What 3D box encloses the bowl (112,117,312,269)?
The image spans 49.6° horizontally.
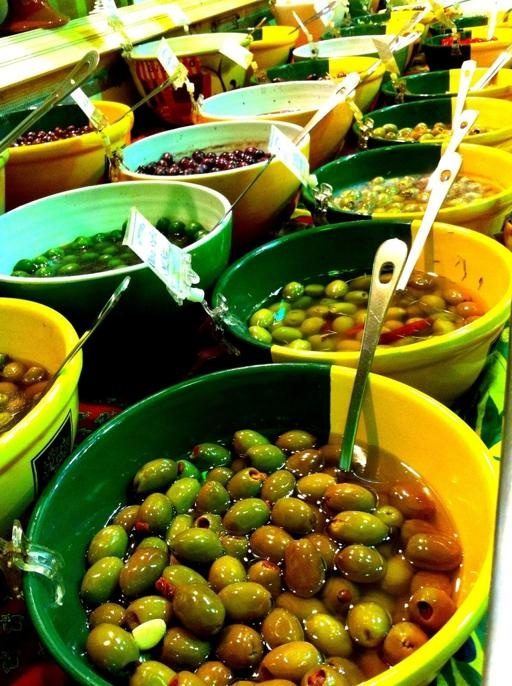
[{"bbox_3d":[-0.082,-0.401,1.463,0.493,0.242,0.456,-6,33,4],"label":"bowl"}]
